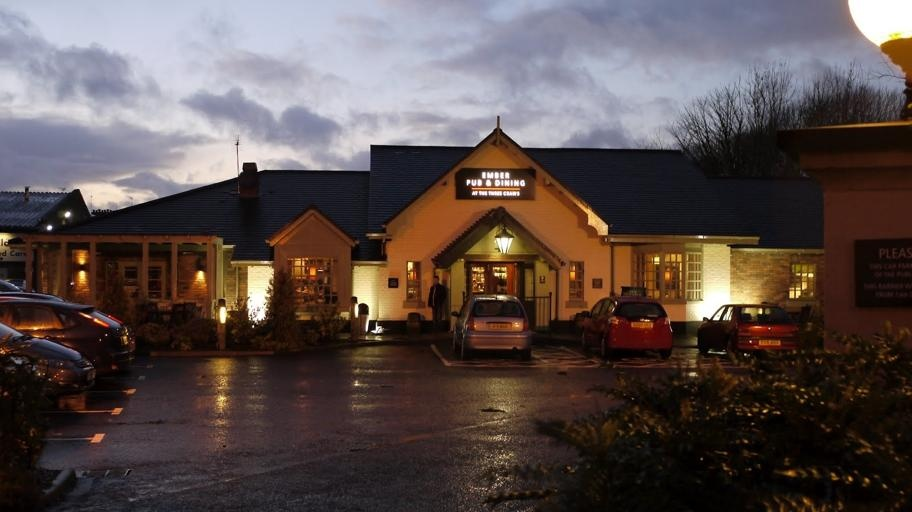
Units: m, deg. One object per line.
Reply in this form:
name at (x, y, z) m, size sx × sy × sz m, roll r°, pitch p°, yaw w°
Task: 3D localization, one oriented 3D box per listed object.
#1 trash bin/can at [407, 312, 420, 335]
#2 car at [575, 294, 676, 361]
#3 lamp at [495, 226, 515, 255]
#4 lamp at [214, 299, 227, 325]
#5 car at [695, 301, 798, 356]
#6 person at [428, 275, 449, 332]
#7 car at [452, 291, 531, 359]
trash bin/can at (-1.728, 2.694, 33.201) m, size 0.506 × 0.821 × 0.282 m, roll 0°, pitch 1°, yaw -5°
car at (5.231, 2.220, 26.119) m, size 1.863 × 1.949 × 2.826 m, roll 0°, pitch 1°, yaw -19°
lamp at (1.963, -0.650, 33.535) m, size 0.740 × 1.146 × 1.709 m, roll 0°, pitch 1°, yaw 5°
lamp at (-7.411, 1.754, 26.076) m, size 0.223 × 0.826 × 0.678 m, roll 0°, pitch 1°, yaw -22°
car at (8.744, 2.305, 24.930) m, size 2.603 × 1.738 × 5.266 m, roll 1°, pitch 2°, yaw 17°
person at (-0.750, 1.934, 33.654) m, size 0.773 × 2.190 × 1.440 m, roll 0°, pitch 1°, yaw -2°
car at (1.199, 2.178, 24.715) m, size 1.976 × 1.827 × 1.016 m, roll 0°, pitch 1°, yaw -13°
